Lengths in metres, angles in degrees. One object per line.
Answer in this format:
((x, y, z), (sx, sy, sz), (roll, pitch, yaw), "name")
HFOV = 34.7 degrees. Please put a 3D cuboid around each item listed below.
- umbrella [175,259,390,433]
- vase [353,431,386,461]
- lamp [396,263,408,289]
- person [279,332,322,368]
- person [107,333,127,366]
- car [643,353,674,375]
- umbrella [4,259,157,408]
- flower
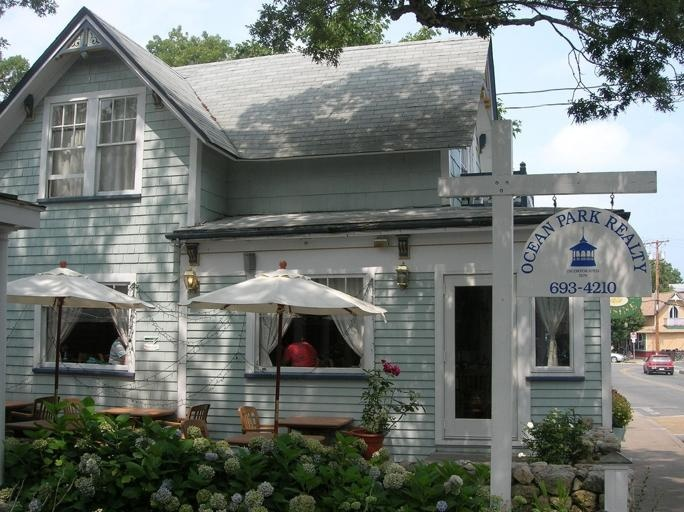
((-0.928, 1.473, 19.191), (3.168, 2.529, 3.248), (-1, -9, 8), "umbrella")
((0.460, 3.311, 19.314), (0.571, 0.498, 0.458), (1, -9, 1), "vase")
((1.166, 0.358, 20.841), (0.249, 0.485, 0.218), (0, -9, 6), "lamp")
((-0.804, 1.950, 21.480), (0.656, 0.597, 0.748), (-2, -10, -21), "person")
((-4.521, 1.883, 22.453), (0.491, 0.716, 0.711), (0, -3, -22), "person")
((17.259, 5.882, 59.494), (1.030, 0.720, 1.729), (-1, 2, 11), "car")
((-4.809, 1.505, 20.024), (2.648, 1.784, 2.546), (1, -11, -2), "umbrella")
((0.837, 2.633, 20.226), (1.528, 1.813, 1.118), (-3, 11, -1), "flower")
